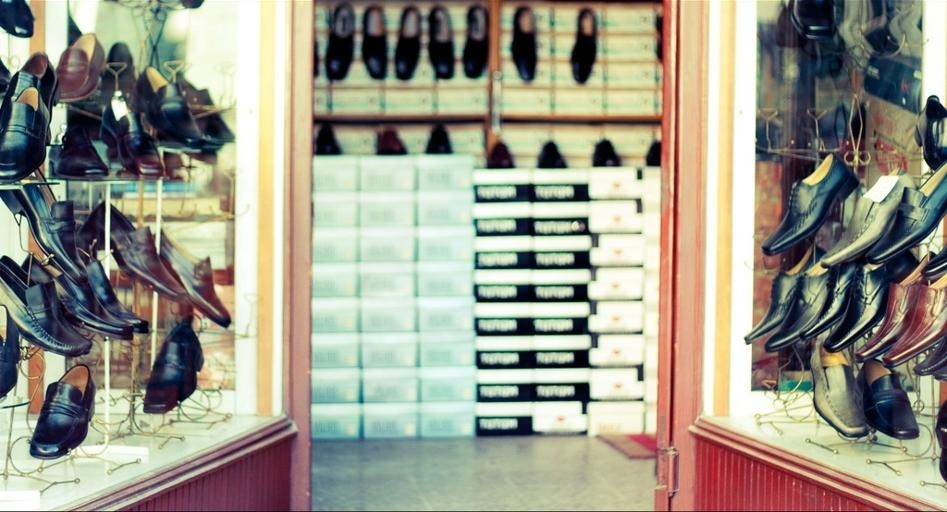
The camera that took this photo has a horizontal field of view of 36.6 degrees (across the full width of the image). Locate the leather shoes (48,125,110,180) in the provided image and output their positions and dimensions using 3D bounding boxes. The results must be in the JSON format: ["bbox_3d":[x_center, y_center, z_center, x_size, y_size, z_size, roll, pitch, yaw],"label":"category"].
[{"bbox_3d":[-1.733,-0.476,6.272,0.230,0.194,0.450,-9,26,-30],"label":"leather shoes"}]

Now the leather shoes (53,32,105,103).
[{"bbox_3d":[-1.717,-0.794,6.288,0.163,0.309,0.112,21,-19,-7],"label":"leather shoes"}]

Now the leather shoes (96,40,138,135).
[{"bbox_3d":[-1.566,-0.730,6.308,0.140,0.401,0.170,-1,-10,-10],"label":"leather shoes"}]

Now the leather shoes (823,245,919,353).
[{"bbox_3d":[1.690,0.191,6.251,0.234,0.585,0.195,39,10,-10],"label":"leather shoes"}]

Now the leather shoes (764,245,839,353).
[{"bbox_3d":[1.456,0.170,6.330,0.188,0.475,0.161,28,15,-15],"label":"leather shoes"}]

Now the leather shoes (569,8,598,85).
[{"bbox_3d":[0.610,-1.138,7.762,0.141,0.362,0.158,3,-2,0],"label":"leather shoes"}]

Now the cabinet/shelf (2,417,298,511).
[{"bbox_3d":[-1.490,0.873,6.607,1.155,0.391,0.959,3,-2,-30],"label":"cabinet/shelf"}]

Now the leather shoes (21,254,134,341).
[{"bbox_3d":[-1.625,0.236,6.125,0.439,0.160,0.128,-10,23,-29],"label":"leather shoes"}]

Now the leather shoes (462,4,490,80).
[{"bbox_3d":[0.016,-1.150,7.714,0.135,0.364,0.154,-1,17,-1],"label":"leather shoes"}]

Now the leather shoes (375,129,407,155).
[{"bbox_3d":[-0.443,-0.601,7.706,0.150,0.152,0.046,1,-14,0],"label":"leather shoes"}]

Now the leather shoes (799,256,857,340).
[{"bbox_3d":[1.574,0.170,6.294,0.158,0.375,0.114,37,4,-13],"label":"leather shoes"}]

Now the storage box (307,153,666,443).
[{"bbox_3d":[0.038,0.215,8.162,2.462,1.720,1.351,0,1,-6],"label":"storage box"}]

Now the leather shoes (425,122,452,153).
[{"bbox_3d":[-0.176,-0.620,7.753,0.114,0.184,0.051,0,-11,1],"label":"leather shoes"}]

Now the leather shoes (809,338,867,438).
[{"bbox_3d":[1.585,0.584,6.246,0.183,0.443,0.188,-8,-33,7],"label":"leather shoes"}]

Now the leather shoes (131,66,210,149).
[{"bbox_3d":[-1.351,-0.670,6.465,0.225,0.224,0.601,-6,37,-36],"label":"leather shoes"}]

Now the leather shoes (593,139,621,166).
[{"bbox_3d":[0.733,-0.546,7.809,0.104,0.172,0.040,-2,-5,1],"label":"leather shoes"}]

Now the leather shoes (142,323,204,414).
[{"bbox_3d":[-1.312,0.493,6.364,0.158,0.203,0.465,9,45,-4],"label":"leather shoes"}]

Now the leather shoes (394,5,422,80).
[{"bbox_3d":[-0.332,-1.153,7.694,0.137,0.359,0.106,1,15,-6],"label":"leather shoes"}]

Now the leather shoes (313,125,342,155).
[{"bbox_3d":[-0.783,-0.622,7.697,0.120,0.195,0.047,-3,-10,-9],"label":"leather shoes"}]

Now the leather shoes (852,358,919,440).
[{"bbox_3d":[1.805,0.585,6.206,0.216,0.186,0.470,-5,35,-1],"label":"leather shoes"}]

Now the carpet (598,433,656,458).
[{"bbox_3d":[0.806,0.982,7.494,0.296,0.074,0.361,1,2,3],"label":"carpet"}]

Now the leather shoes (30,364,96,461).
[{"bbox_3d":[-1.713,0.672,6.086,0.186,0.198,0.445,11,43,-5],"label":"leather shoes"}]
